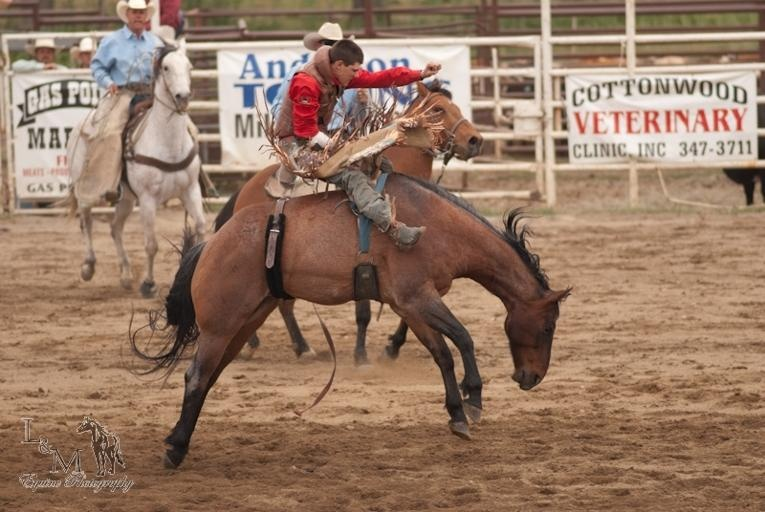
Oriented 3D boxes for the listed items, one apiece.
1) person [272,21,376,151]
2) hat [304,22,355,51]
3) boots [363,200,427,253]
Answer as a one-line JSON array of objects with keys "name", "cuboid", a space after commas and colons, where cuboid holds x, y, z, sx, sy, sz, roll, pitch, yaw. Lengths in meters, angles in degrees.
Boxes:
[{"name": "person", "cuboid": [-0.859, -1.899, 16.410, 0.519, 1.025, 2.166, -28, 20, -27]}, {"name": "hat", "cuboid": [-0.656, -2.463, 16.668, 0.545, 0.205, 0.595, 5, 4, 8]}, {"name": "boots", "cuboid": [0.024, -0.254, 14.358, 0.432, 0.350, 0.735, 0, -22, 22]}]
